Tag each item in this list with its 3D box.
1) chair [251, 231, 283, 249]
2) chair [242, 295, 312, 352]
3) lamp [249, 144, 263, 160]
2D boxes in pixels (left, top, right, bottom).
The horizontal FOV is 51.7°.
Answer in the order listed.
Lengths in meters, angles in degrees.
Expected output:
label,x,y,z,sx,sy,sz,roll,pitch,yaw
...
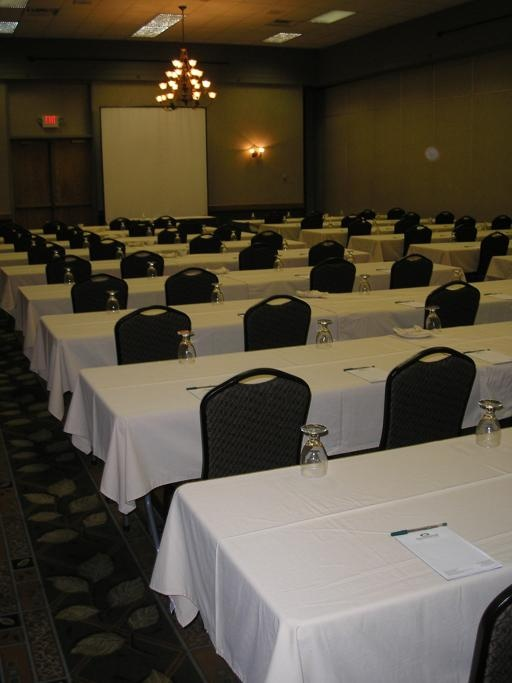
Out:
label,x,y,z,sx,sy,sz,roll,pitch,yaw
chair,0.135,-1.743,8.980,0.633,0.279,0.620,-1,9,-18
chair,0.162,-0.118,3.826,0.307,0.576,0.326,-5,32,-12
lamp,-0.019,-6.317,17.624,0.511,0.550,0.410,-12,28,-29
